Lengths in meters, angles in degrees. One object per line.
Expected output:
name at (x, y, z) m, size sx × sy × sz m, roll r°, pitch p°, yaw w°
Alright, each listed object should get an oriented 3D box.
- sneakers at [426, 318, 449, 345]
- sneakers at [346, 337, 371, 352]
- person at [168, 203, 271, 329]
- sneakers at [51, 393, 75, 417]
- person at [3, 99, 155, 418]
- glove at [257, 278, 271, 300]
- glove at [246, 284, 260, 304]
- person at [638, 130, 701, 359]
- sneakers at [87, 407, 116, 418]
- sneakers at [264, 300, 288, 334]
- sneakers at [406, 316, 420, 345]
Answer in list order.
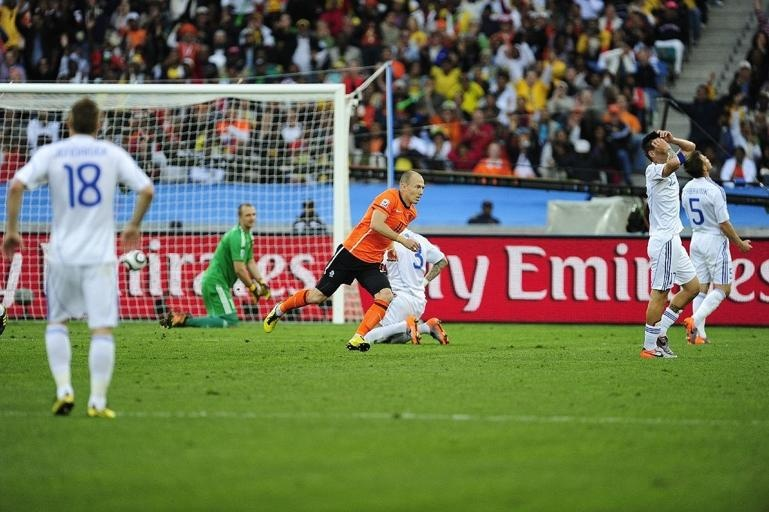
sneakers at (0.712, 0.963, 12.539) m, size 0.273 × 0.352 × 0.268 m, roll 11°, pitch 16°, yaw 36°
sneakers at (-0.299, 1.039, 11.654) m, size 0.144 × 0.129 × 0.283 m, roll -3°, pitch -7°, yaw 15°
person at (-2.444, 0.236, 14.654) m, size 1.395 × 2.013 × 0.724 m, roll 7°, pitch 31°, yaw -17°
sneakers at (-2.856, 1.353, 8.943) m, size 0.160 × 0.096 × 0.228 m, roll 12°, pitch 52°, yaw 35°
person at (-2.804, 0.023, 9.043) m, size 1.149 × 2.827 × 0.902 m, roll 5°, pitch 14°, yaw 19°
glove at (-1.615, 0.468, 13.474) m, size 0.138 × 0.230 × 0.103 m, roll -27°, pitch 29°, yaw 26°
glove at (-1.841, 0.532, 13.979) m, size 0.122 × 0.327 × 0.143 m, roll -14°, pitch 0°, yaw -3°
person at (3.375, -0.164, 11.813) m, size 0.682 × 2.627 × 1.171 m, roll 5°, pitch 14°, yaw 19°
sneakers at (-2.520, 1.418, 8.911) m, size 0.178 × 0.064 × 0.121 m, roll 13°, pitch 3°, yaw 0°
sneakers at (-1.501, 0.845, 13.684) m, size 0.211 × 0.495 × 0.168 m, roll 35°, pitch 12°, yaw 10°
sneakers at (0.359, 0.935, 12.523) m, size 0.132 × 0.392 × 0.171 m, roll -17°, pitch 4°, yaw -27°
